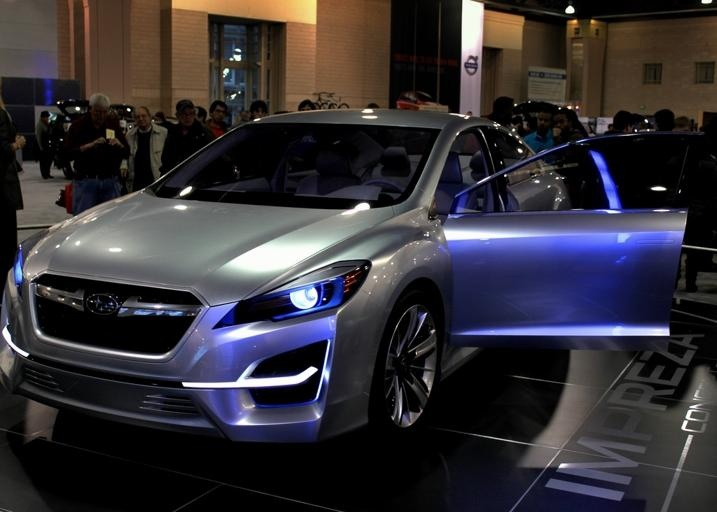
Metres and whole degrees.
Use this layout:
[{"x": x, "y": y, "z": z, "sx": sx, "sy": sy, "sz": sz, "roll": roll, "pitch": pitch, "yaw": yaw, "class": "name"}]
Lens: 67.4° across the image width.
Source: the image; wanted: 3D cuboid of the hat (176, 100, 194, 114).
[{"x": -2.264, "y": -1.929, "z": 7.042, "sx": 0.183, "sy": 0.149, "sz": 0.271, "roll": -9, "pitch": -5, "yaw": -16, "class": "hat"}]

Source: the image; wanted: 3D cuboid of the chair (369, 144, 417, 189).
[{"x": 0.224, "y": -0.578, "z": 3.540, "sx": 0.207, "sy": 0.243, "sz": 0.395, "roll": 1, "pitch": 13, "yaw": 13, "class": "chair"}]

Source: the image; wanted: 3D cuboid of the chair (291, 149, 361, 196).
[{"x": -0.239, "y": -0.576, "z": 3.741, "sx": 0.422, "sy": 0.405, "sz": 0.289, "roll": -3, "pitch": 8, "yaw": -20, "class": "chair"}]
